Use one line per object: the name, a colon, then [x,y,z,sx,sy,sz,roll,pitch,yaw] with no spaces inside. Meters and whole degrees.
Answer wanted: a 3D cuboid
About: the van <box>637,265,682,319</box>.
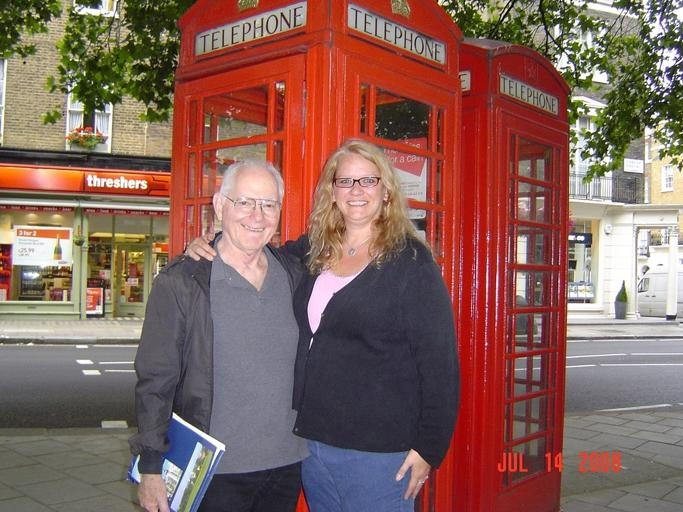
van: [13.356,1.564,27.416,2.629,1.663,1.432,2,0,37]
